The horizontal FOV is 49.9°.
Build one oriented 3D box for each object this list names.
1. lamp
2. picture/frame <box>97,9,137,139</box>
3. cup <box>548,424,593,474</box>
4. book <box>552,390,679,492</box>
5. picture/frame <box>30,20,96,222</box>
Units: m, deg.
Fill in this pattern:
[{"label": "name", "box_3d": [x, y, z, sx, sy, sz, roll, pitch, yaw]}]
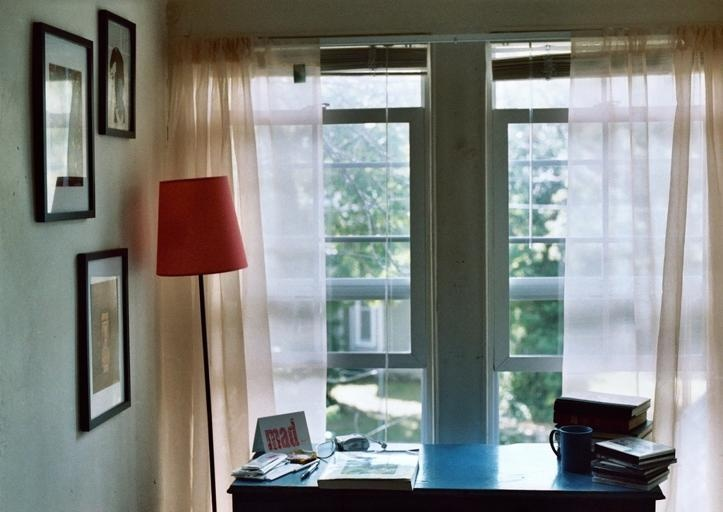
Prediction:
[{"label": "lamp", "box_3d": [-0.767, 0.470, 3.666, 0.372, 1.662, 0.454, -3, 2, -33]}, {"label": "picture/frame", "box_3d": [-1.133, -0.837, 3.616, 0.053, 0.571, 0.262, -1, 2, 15]}, {"label": "cup", "box_3d": [0.910, 0.844, 3.386, 0.131, 0.187, 0.199, 0, 2, -30]}, {"label": "book", "box_3d": [1.066, 0.786, 3.298, 0.381, 0.212, 0.447, 1, 7, 13]}, {"label": "picture/frame", "box_3d": [-1.259, -0.553, 3.311, 0.068, 0.810, 0.329, -1, 2, 19]}]
